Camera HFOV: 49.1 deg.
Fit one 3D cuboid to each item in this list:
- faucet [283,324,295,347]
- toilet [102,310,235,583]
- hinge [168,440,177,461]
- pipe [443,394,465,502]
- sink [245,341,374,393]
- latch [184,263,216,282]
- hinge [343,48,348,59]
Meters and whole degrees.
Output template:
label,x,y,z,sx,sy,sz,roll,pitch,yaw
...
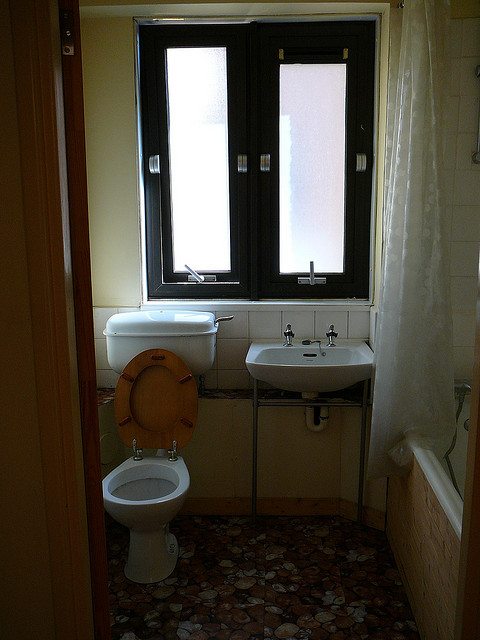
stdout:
label,x,y,z,sx,sy,sz,roll,pitch,yaw
faucet,0.236,0.072,2.526,0.052,0.149,0.079,0,3,3
toilet,-0.359,0.488,2.235,0.493,1.006,0.732,0,5,2
hinge,-0.288,0.551,2.225,0.041,0.122,0.059,2,54,-7
pipe,0.767,0.466,1.885,0.066,0.374,0.015,-2,-3,-6
sink,0.323,0.217,2.384,0.570,0.176,0.518,0,6,6
latch,-0.209,-0.248,2.738,0.166,0.094,0.092,-3,6,-17
hinge,0.508,-1.285,2.524,0.022,0.043,0.010,-1,4,-3
